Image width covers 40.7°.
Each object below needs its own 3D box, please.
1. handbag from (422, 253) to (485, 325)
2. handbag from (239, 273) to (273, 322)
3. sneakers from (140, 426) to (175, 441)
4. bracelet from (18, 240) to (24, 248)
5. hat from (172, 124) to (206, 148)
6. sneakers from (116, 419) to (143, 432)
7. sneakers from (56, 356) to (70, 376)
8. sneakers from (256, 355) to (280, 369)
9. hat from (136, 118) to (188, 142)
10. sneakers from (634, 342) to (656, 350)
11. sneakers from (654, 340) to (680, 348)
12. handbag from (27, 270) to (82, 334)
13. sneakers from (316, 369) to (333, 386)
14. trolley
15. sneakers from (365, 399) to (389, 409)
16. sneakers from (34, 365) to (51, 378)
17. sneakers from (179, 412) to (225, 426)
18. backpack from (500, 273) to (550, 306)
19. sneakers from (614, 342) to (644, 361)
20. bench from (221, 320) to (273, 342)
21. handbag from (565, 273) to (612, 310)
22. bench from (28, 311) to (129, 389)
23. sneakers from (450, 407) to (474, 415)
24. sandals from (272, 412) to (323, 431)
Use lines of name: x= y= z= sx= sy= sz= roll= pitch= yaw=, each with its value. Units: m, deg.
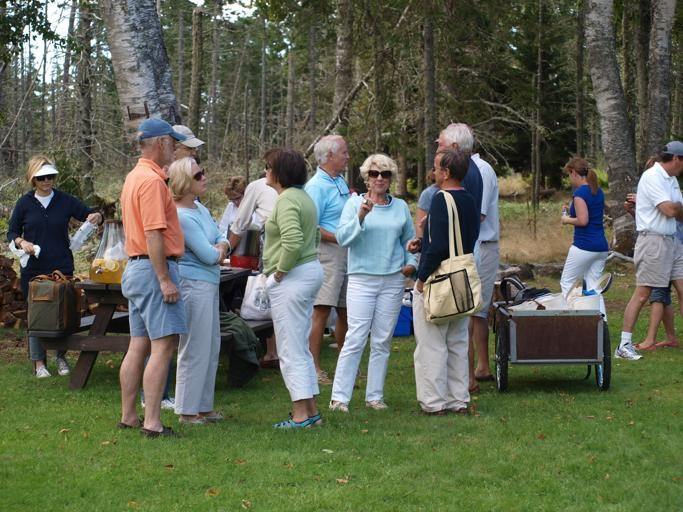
handbag: x=1.137 y=0.339 z=9.619 sx=0.621 sy=0.657 sz=0.356 roll=-12 pitch=-10 yaw=19
handbag: x=-0.995 y=0.498 z=10.890 sx=0.360 sy=0.685 sz=0.524 roll=5 pitch=7 yaw=19
sneakers: x=-1.807 y=1.754 z=9.117 sx=0.290 sy=0.101 sz=0.134 roll=0 pitch=-3 yaw=-8
bracelet: x=-3.781 y=-0.150 z=10.913 sx=0.070 sy=0.074 sz=0.059 roll=0 pitch=1 yaw=40
hat: x=-1.724 y=-1.423 z=10.514 sx=0.447 sy=0.178 sz=0.300 roll=27 pitch=22 yaw=19
sneakers: x=-2.136 y=1.729 z=9.310 sx=0.242 sy=0.072 sz=0.093 roll=1 pitch=-2 yaw=-3
sneakers: x=-3.385 y=1.349 z=11.224 sx=0.103 sy=0.136 sz=0.306 roll=-7 pitch=9 yaw=-26
sneakers: x=-0.924 y=1.363 z=11.817 sx=0.242 sy=0.096 sz=0.140 roll=-5 pitch=-1 yaw=19
hat: x=-1.815 y=-1.260 z=9.248 sx=0.395 sy=0.178 sz=0.252 roll=1 pitch=8 yaw=-33
sneakers: x=3.910 y=1.171 z=11.906 sx=0.268 sy=0.079 sz=0.097 roll=3 pitch=-3 yaw=3
sneakers: x=4.236 y=1.151 z=12.001 sx=0.310 sy=0.094 sz=0.118 roll=4 pitch=-3 yaw=8
handbag: x=-3.295 y=0.549 z=10.806 sx=0.688 sy=0.927 sz=0.665 roll=1 pitch=-4 yaw=-26
sneakers: x=-0.207 y=1.476 z=11.141 sx=0.246 sy=0.123 sz=0.092 roll=-6 pitch=-6 yaw=35
trolley: x=2.358 y=0.843 z=10.802 sx=0.971 sy=1.007 sz=1.590 roll=0 pitch=4 yaw=5
sneakers: x=0.390 y=1.621 z=10.061 sx=0.182 sy=0.084 sz=0.097 roll=-1 pitch=2 yaw=27
sneakers: x=-3.569 y=1.392 z=11.033 sx=0.104 sy=0.095 sz=0.185 roll=-1 pitch=-4 yaw=-30
sneakers: x=-1.443 y=1.695 z=9.583 sx=0.456 sy=0.201 sz=0.161 roll=-4 pitch=0 yaw=-8
backpack: x=2.134 y=0.440 z=11.073 sx=0.598 sy=0.331 sz=0.465 roll=-2 pitch=-4 yaw=25
sneakers: x=3.592 y=1.225 z=11.597 sx=0.380 sy=0.191 sz=0.145 roll=-2 pitch=-2 yaw=36
bench: x=-1.149 y=0.860 z=10.989 sx=0.139 sy=0.264 sz=0.696 roll=-14 pitch=-7 yaw=19
handbag: x=2.834 y=0.393 z=10.681 sx=0.560 sy=0.547 sz=0.425 roll=3 pitch=1 yaw=19
bench: x=-2.871 y=0.983 z=10.873 sx=0.855 sy=0.727 sz=1.032 roll=2 pitch=3 yaw=12
sneakers: x=1.298 y=1.665 z=9.917 sx=0.263 sy=0.122 sz=0.093 roll=-1 pitch=4 yaw=16
sandals: x=-0.443 y=1.681 z=9.399 sx=0.463 sy=0.199 sz=0.178 roll=0 pitch=-3 yaw=7
